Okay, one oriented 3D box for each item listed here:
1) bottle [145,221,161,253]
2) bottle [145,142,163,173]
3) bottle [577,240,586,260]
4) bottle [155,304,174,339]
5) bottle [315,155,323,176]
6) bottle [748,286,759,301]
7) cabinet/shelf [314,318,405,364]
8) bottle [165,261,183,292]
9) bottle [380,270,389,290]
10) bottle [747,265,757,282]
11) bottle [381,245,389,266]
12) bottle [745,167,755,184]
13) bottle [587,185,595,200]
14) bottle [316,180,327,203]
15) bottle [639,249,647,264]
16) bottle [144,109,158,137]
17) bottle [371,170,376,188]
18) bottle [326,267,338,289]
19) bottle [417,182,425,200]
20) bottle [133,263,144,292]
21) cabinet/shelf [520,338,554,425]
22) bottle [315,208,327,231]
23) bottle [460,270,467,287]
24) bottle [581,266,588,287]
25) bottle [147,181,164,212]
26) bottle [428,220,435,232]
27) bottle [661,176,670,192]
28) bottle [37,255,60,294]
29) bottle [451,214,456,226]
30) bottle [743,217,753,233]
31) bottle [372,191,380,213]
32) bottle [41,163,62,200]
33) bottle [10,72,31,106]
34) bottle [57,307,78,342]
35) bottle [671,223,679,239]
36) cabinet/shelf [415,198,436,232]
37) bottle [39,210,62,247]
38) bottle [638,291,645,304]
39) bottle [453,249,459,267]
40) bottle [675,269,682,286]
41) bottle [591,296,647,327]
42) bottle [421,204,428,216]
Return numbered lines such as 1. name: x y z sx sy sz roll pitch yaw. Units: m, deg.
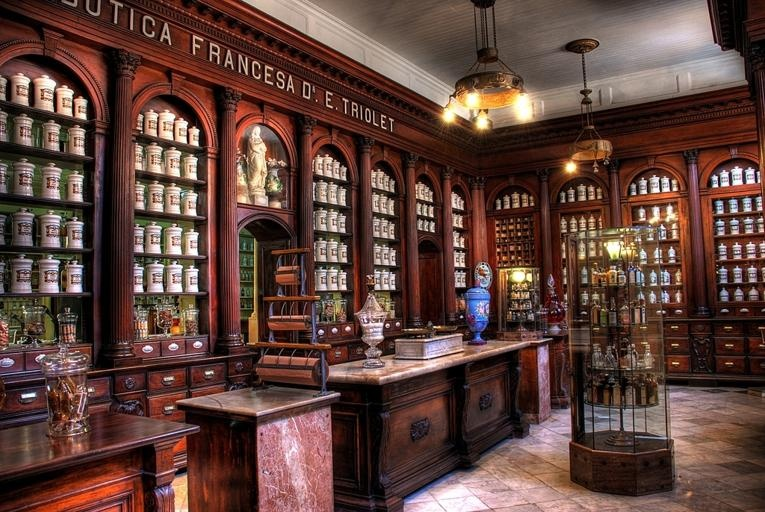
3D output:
1. bottle: -2.705 -0.204 6.708 0.178 0.369 0.112 1 -7 -33
2. bottle: -2.721 -1.151 6.773 0.157 0.370 0.097 2 -7 -35
3. bottle: 2.095 -0.057 6.009 0.104 0.222 0.050 -4 -6 19
4. bottle: -2.609 0.786 6.851 0.259 0.361 0.242 -1 -6 0
5. bottle: -0.960 -1.369 8.725 0.128 0.313 0.103 2 -7 -37
6. bottle: 6.752 0.682 10.386 0.182 0.261 0.129 -3 -6 10
7. cabinet/shelf: -0.355 1.328 9.132 0.418 0.639 2.103 1 -1 32
8. bottle: -2.494 0.275 6.915 0.150 0.355 0.260 -5 -6 21
9. bottle: 0.041 0.419 9.772 0.064 0.310 0.211 -5 -6 27
10. bottle: 6.746 0.350 10.399 0.156 0.276 0.089 -6 -7 30
11. bottle: 0.047 0.004 9.821 0.079 0.328 0.252 -5 -6 22
12. bottle: 6.715 -1.439 10.434 0.156 0.287 0.082 -6 -7 31
13. bottle: 4.266 -1.292 11.682 0.181 0.328 0.145 -5 -6 20
14. bottle: -0.941 -0.972 8.745 0.181 0.332 0.072 -1 -6 -17
15. bottle: 2.690 0.007 5.891 0.075 0.154 0.023 -1 -6 -18
16. bottle: -2.739 -1.553 6.749 0.155 0.336 0.099 1 -7 -30
17. bottle: -0.155 -1.298 9.685 0.056 0.308 0.187 -5 -6 20
18. bottle: -0.780 0.375 8.772 0.069 0.324 0.197 -8 -8 42
19. bottle: 0.692 -1.229 10.837 0.068 0.351 0.229 -7 -7 39
20. bottle: -2.814 0.254 6.562 0.113 0.352 0.324 0 -6 -23
21. cabinet/shelf: 2.096 1.745 8.407 0.736 0.990 0.745 -3 -6 20
22. bottle: -0.952 -0.537 8.749 0.179 0.325 0.065 2 -7 -36
23. bottle: 1.644 0.473 11.785 0.085 0.315 0.261 -5 -6 24
24. bottle: 2.125 0.215 6.017 0.076 0.181 0.035 -4 -6 15
25. bottle: -2.704 -0.685 6.763 0.165 0.353 0.109 0 -6 -23
26. bottle: 0.943 -0.567 11.062 0.041 0.283 0.237 -5 -5 33
27. bottle: 5.465 -1.376 11.038 0.149 0.299 0.063 -5 -6 25
28. bottle: -3.498 0.195 5.972 0.181 0.410 0.162 2 -7 -37
29. bottle: 1.477 -0.755 11.772 0.063 0.284 0.286 -4 -6 18
30. bottle: 6.713 -0.548 10.489 0.150 0.312 0.105 -7 -7 39
31. bottle: -0.110 -0.913 9.763 0.039 0.349 0.195 -8 -8 44
32. bottle: -3.515 -0.780 6.041 0.162 0.395 0.127 2 -7 -35
33. bottle: -3.727 -1.690 5.863 0.158 0.352 0.142 2 -7 -38
34. bottle: -3.352 0.736 6.060 0.185 0.395 0.476 1 -7 -29
35. bottle: 5.600 -0.461 10.964 0.150 0.317 0.049 -4 -6 14
36. cabinet/shelf: 0.819 -0.709 11.087 0.276 0.544 0.648 -4 -1 17
37. bottle: -3.496 -0.271 5.990 0.180 0.389 0.133 2 -7 -36
38. bottle: 2.676 0.431 5.903 0.093 0.124 0.019 -1 -6 -12
39. bottle: 1.522 0.065 11.737 0.072 0.334 0.224 -5 -6 23
40. bottle: 5.648 0.411 10.909 0.068 0.287 0.130 1 -7 -31
41. bottle: 2.441 0.588 5.920 0.516 0.284 0.107 -4 -6 20
42. bottle: 0.792 -0.867 10.905 0.037 0.226 0.260 -1 -2 33
